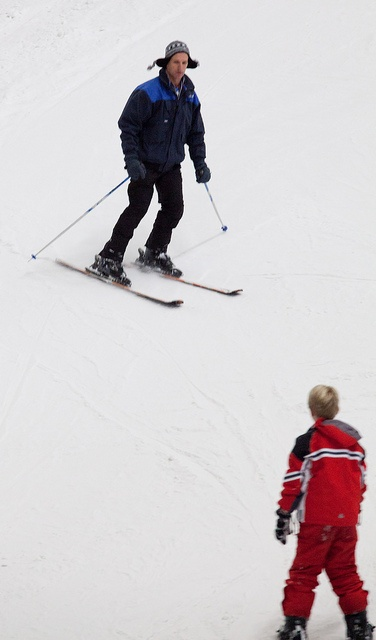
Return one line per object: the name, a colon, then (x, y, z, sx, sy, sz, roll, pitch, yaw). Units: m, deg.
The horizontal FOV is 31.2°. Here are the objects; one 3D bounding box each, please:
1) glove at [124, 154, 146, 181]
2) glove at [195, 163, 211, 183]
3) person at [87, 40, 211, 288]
glove: (-0.374, -1.064, 4.742, 0.151, 0.126, 0.064, 48, -28, -20)
glove: (0.117, -1.125, 5.231, 0.117, 0.145, 0.072, -11, 0, 14)
person: (-0.257, -1.104, 5.002, 0.693, 1.728, 0.903, 9, -2, 14)
